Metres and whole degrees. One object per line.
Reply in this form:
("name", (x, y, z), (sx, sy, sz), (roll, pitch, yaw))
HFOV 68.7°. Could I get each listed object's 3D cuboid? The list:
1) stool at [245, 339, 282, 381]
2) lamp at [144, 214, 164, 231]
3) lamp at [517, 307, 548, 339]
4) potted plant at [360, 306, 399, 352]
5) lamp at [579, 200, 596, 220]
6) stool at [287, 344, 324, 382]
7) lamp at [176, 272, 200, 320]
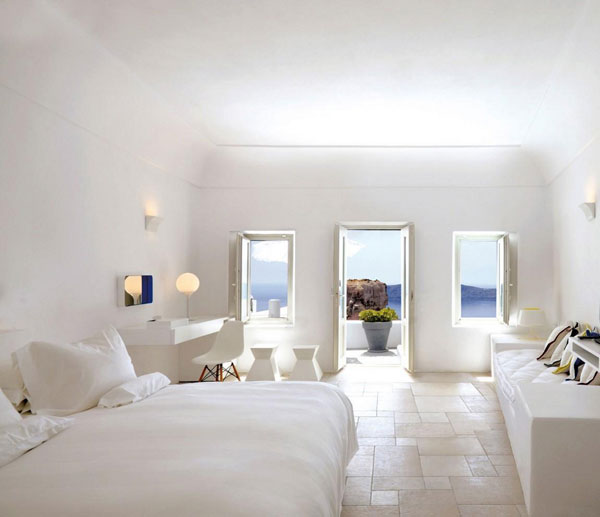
("stool", (-0.437, 1.238, 5.337), (0.346, 0.510, 0.426), (0, -8, 5))
("lamp", (-1.626, -0.398, 4.883), (0.139, 0.155, 0.163), (3, 3, 1))
("lamp", (2.992, 0.802, 5.677), (0.372, 0.486, 0.403), (-1, -7, -7))
("potted plant", (1.389, 1.256, 7.752), (0.588, 0.696, 0.411), (0, 6, 4))
("lamp", (2.893, -0.473, 4.401), (0.119, 0.180, 0.236), (3, 6, 28))
("stool", (0.071, 1.272, 5.585), (0.411, 0.437, 0.398), (-1, -3, 13))
("lamp", (-1.446, 0.475, 5.626), (0.284, 0.651, 0.734), (-2, 6, -16))
